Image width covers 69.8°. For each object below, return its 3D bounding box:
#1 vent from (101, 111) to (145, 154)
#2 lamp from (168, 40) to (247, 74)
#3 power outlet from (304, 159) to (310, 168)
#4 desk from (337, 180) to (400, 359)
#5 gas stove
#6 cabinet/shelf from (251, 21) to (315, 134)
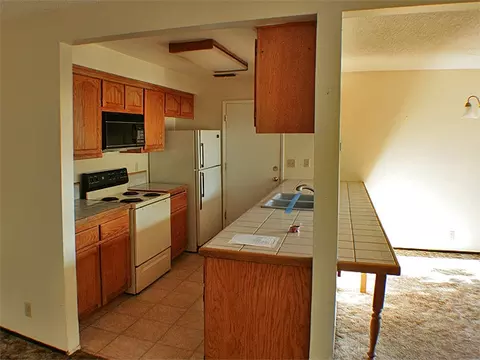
[{"bbox_3d":[-1.480,-0.574,4.125,0.423,0.420,0.657,7,11,19],"label":"vent"},{"bbox_3d":[-0.334,-1.480,4.134,0.541,0.148,1.176,4,10,20],"label":"lamp"},{"bbox_3d":[1.034,-0.262,5.270,0.125,0.176,0.017,1,0,28],"label":"power outlet"},{"bbox_3d":[1.173,0.851,3.329,0.466,1.119,2.111,3,9,16],"label":"desk"},{"bbox_3d":[-1.315,0.565,4.205,0.680,1.345,0.786,4,9,20],"label":"gas stove"},{"bbox_3d":[0.301,-0.692,2.320,0.393,0.729,0.136,1,9,3],"label":"cabinet/shelf"}]
